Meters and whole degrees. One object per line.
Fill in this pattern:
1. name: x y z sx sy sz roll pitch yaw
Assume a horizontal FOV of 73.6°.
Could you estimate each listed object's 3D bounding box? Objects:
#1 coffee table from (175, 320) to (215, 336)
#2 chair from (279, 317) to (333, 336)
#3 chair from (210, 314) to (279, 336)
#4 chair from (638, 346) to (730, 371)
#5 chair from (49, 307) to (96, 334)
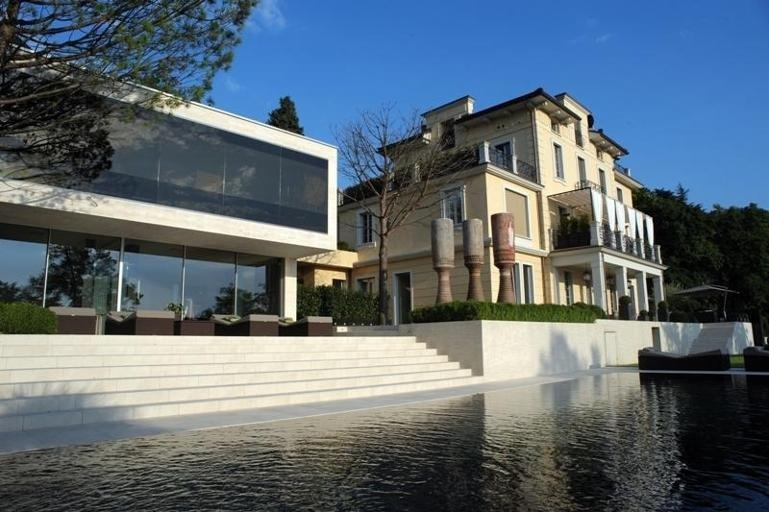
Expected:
1. coffee table: -5.680 2.173 15.515 0.311 0.425 1.072 -7 -13 34
2. chair: -2.666 2.414 17.351 1.244 0.686 2.351 9 -14 -37
3. chair: -4.477 2.214 16.367 1.911 0.635 0.740 -3 -12 18
4. chair: 10.815 3.804 18.516 2.019 0.655 1.388 -5 -9 27
5. chair: -8.302 1.728 13.709 0.924 0.563 0.819 6 -11 -40
